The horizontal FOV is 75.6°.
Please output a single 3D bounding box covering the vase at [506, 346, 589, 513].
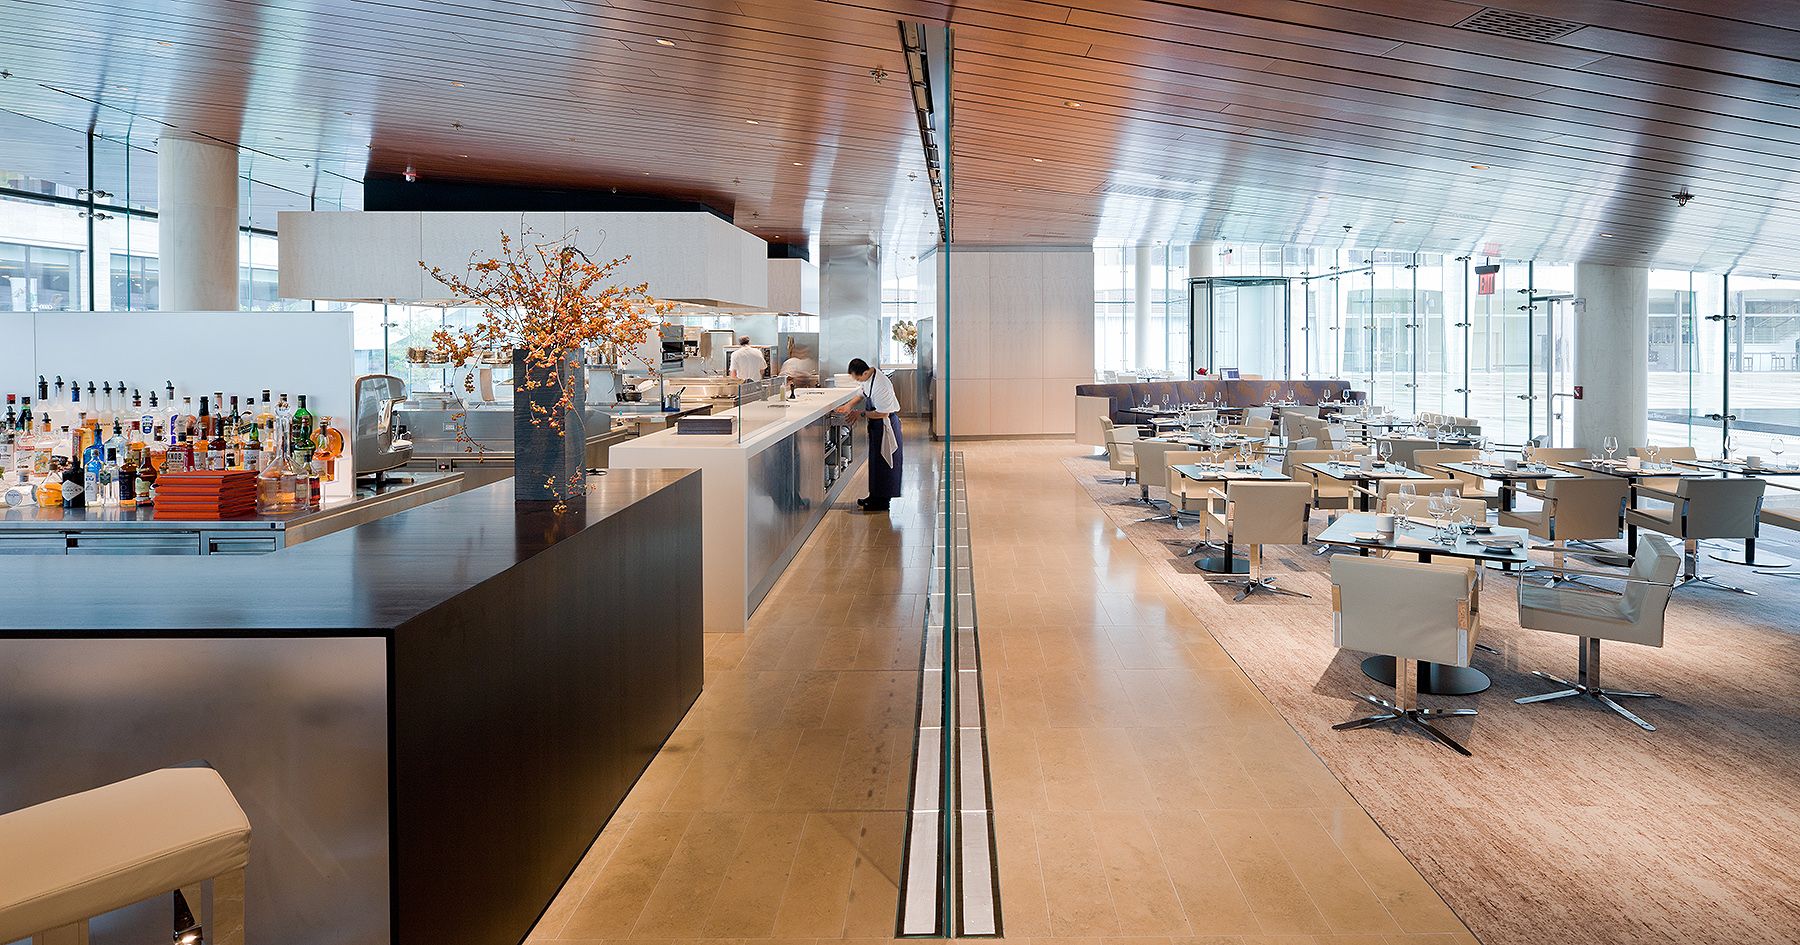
[{"bbox_3d":[-2.412,-0.358,7.910,0.468,1.039,0.517,-2,9,-16],"label":"vase"}]
